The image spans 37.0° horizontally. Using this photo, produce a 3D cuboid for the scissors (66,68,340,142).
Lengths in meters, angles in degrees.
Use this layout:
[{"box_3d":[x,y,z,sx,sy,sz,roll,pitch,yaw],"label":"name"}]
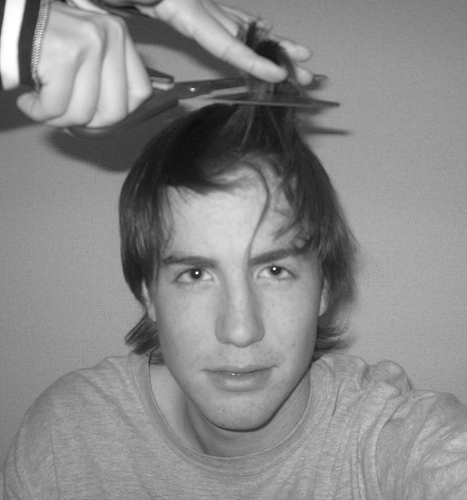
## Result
[{"box_3d":[-0.054,-0.198,1.045,0.335,0.030,0.153,-1,22,0],"label":"scissors"}]
